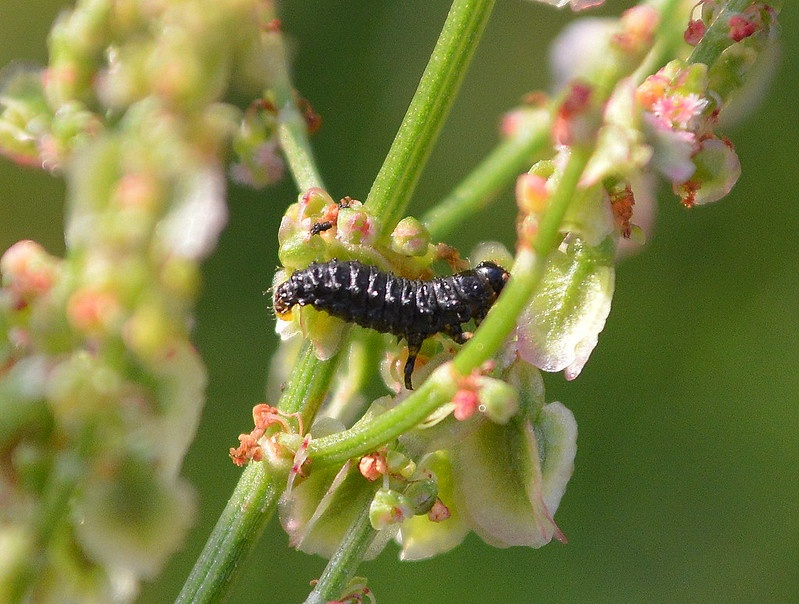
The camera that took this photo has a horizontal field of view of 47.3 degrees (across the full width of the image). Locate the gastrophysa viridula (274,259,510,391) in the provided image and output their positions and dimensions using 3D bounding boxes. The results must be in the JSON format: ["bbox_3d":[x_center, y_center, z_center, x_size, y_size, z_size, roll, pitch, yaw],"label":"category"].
[{"bbox_3d":[-0.006,-0.003,1.065,0.218,0.093,0.157,18,4,-16],"label":"gastrophysa viridula"}]
